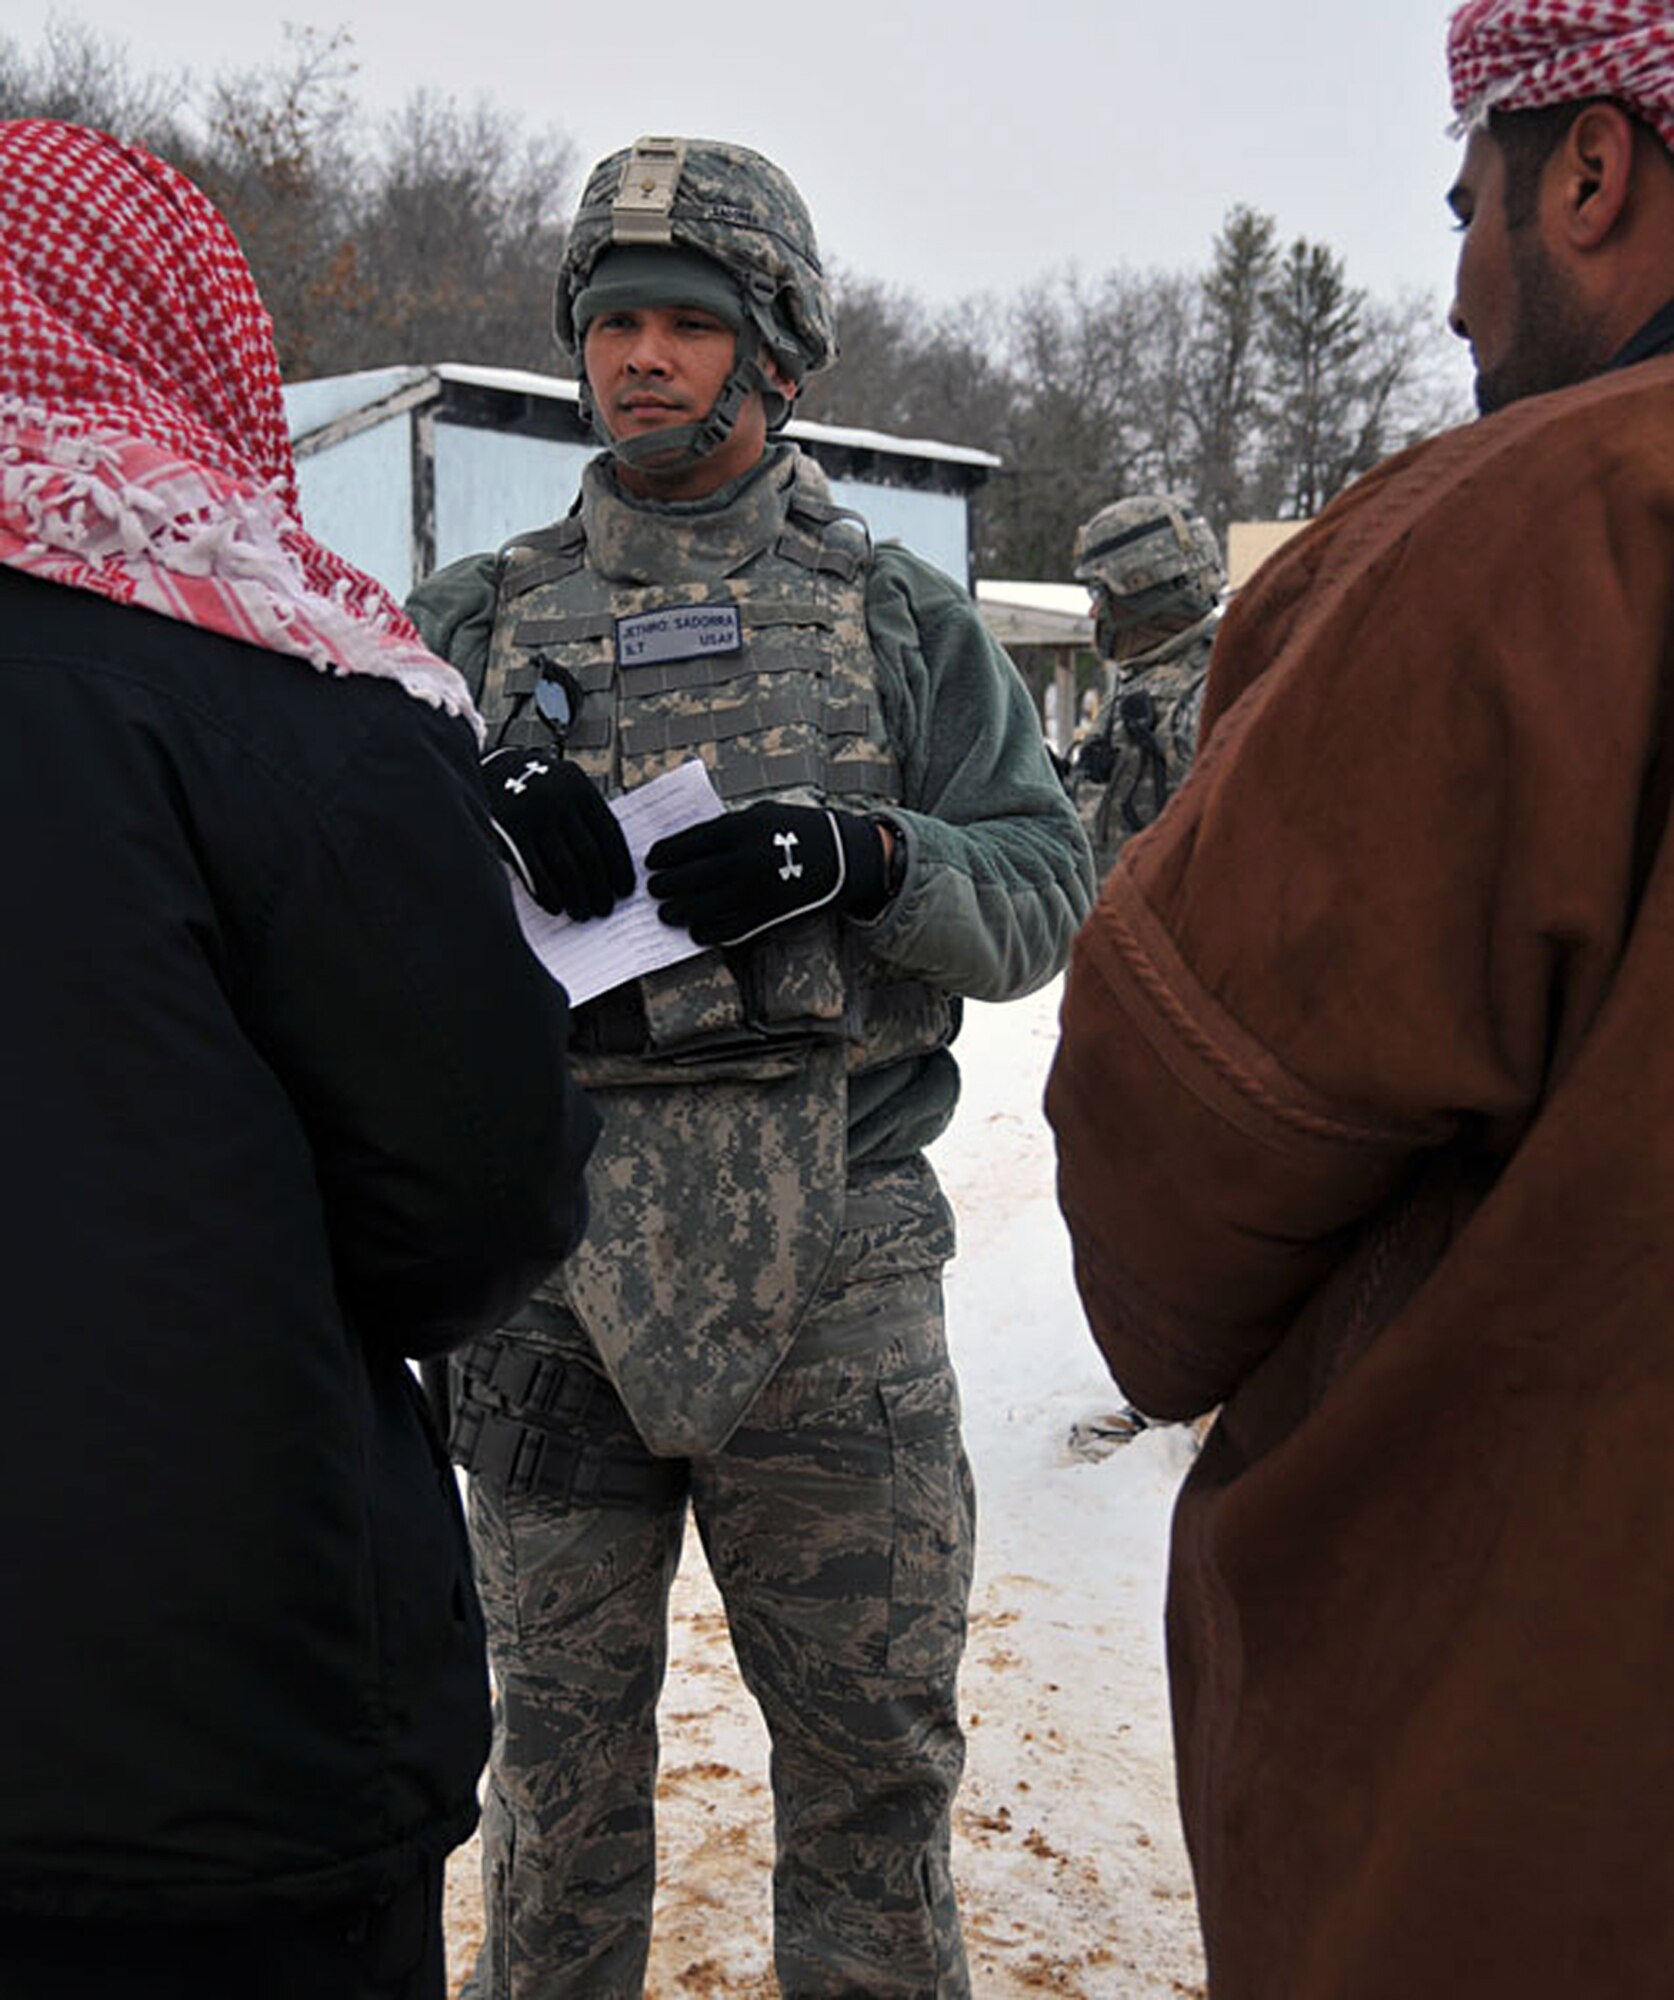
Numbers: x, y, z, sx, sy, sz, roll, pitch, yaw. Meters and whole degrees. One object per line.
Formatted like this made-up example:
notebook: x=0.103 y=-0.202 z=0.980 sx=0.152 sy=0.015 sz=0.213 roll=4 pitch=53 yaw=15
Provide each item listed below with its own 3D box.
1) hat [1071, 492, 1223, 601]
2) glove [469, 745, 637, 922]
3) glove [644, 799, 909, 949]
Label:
hat: x=0.836 y=-1.167 z=5.774 sx=0.401 sy=0.267 sz=0.264 roll=-13 pitch=31 yaw=-5
glove: x=-0.291 y=-0.165 z=2.294 sx=0.056 sy=0.194 sz=0.118 roll=-14 pitch=29 yaw=53
glove: x=-0.062 y=-0.134 z=2.350 sx=0.277 sy=0.145 sz=0.121 roll=-4 pitch=10 yaw=-35
